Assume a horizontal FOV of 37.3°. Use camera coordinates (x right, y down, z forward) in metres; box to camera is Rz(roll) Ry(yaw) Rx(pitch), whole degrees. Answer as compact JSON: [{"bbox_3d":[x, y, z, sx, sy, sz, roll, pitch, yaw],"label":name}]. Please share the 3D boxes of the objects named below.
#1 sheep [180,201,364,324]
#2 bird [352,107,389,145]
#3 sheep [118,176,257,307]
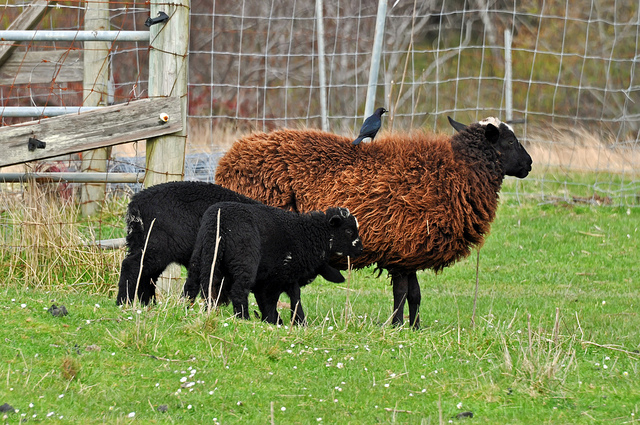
[{"bbox_3d":[-0.603,0.825,14.089,2.806,1.895,0.999,3,-4,-39],"label":"sheep"},{"bbox_3d":[0.794,-1.334,14.839,0.731,0.468,0.237,-20,22,-36],"label":"bird"},{"bbox_3d":[-2.124,0.304,14.382,0.887,1.750,2.596,15,12,28],"label":"sheep"}]
